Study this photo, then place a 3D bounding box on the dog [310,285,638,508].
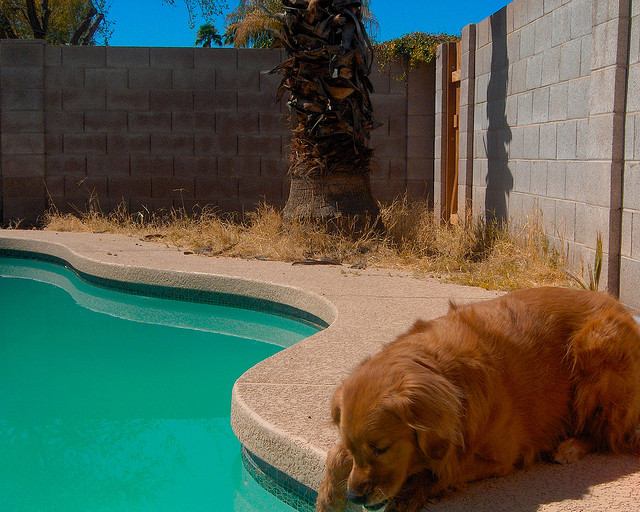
[{"bbox_3d":[0.642,0.556,2.296,1.288,0.649,0.385,-13,12,-23],"label":"dog"}]
